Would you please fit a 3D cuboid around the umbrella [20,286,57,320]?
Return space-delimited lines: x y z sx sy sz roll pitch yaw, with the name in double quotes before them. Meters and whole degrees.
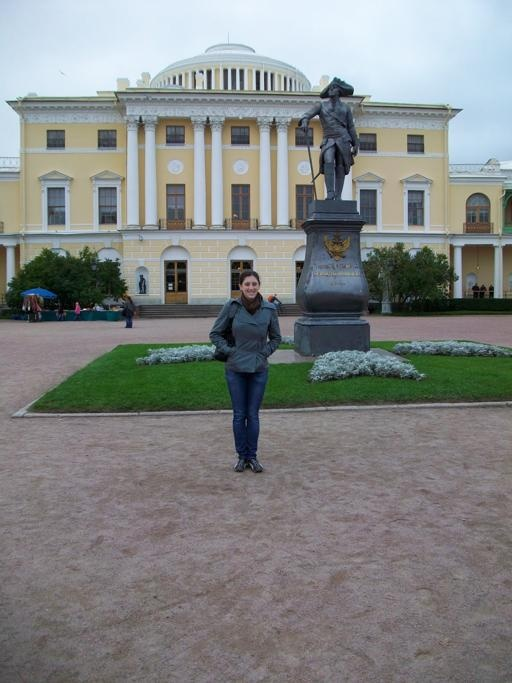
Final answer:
"umbrella" -12.341 -2.101 38.497 2.063 1.574 1.932 -1 2 -1

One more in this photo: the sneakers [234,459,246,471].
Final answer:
"sneakers" -0.133 1.101 6.060 0.093 0.087 0.217 0 4 13

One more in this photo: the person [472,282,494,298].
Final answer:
"person" 19.331 -4.238 57.840 1.611 1.222 1.036 0 -4 8

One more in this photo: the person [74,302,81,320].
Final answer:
"person" -10.137 -1.689 38.903 0.277 0.964 0.957 -2 4 -15

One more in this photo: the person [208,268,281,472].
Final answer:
"person" -0.088 0.255 6.151 0.608 1.777 0.532 -1 3 6

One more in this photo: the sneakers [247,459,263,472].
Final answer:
"sneakers" 0.003 1.101 6.042 0.110 0.088 0.253 -1 4 -9
